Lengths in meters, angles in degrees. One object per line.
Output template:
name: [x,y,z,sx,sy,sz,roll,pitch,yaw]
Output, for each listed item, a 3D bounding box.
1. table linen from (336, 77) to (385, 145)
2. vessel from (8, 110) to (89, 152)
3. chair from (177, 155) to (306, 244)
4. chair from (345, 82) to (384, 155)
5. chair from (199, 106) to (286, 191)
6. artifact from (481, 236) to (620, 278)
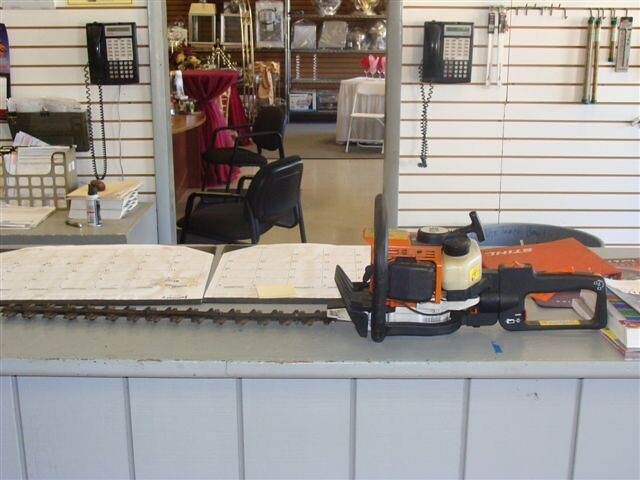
table linen: [0.666,-1.661,8.243,0.697,0.794,0.602,0,23,-4]
vessel: [-1.504,-0.637,3.464,0.414,0.241,0.216,0,40,-8]
chair: [-0.586,-0.297,4.666,0.740,0.721,0.631,17,27,18]
chair: [0.584,-1.648,8.302,0.523,0.882,1.033,-2,15,3]
chair: [-0.712,-0.828,5.868,0.702,0.783,0.588,-11,23,-30]
artifact: [0.784,0.056,2.115,0.246,0.057,0.225,-5,14,-19]
